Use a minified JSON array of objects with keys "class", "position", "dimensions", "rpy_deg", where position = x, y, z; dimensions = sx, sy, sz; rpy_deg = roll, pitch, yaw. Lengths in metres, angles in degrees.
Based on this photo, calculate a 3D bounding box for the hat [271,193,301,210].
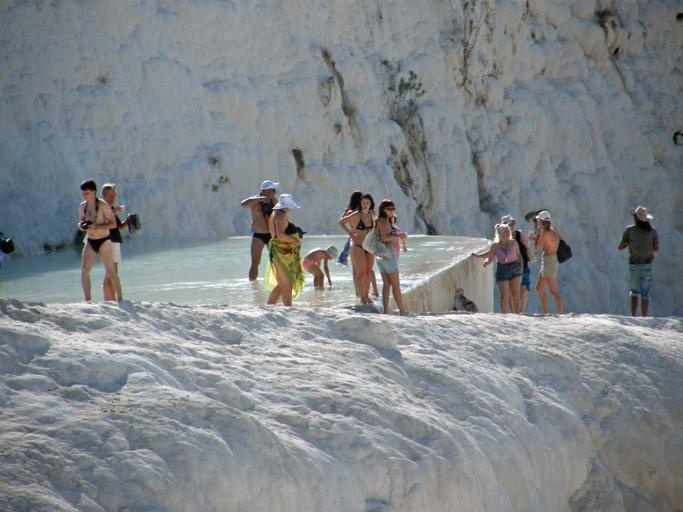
[{"class":"hat","position":[-1.086,-0.964,21.321],"dimensions":[0.422,0.257,0.425],"rpy_deg":[0,-1,-43]}]

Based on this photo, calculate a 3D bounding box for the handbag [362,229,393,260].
[{"class":"handbag","position":[0.649,-0.245,21.377],"dimensions":[0.385,0.477,0.239],"rpy_deg":[4,37,40]}]

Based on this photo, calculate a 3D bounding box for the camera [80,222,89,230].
[{"class":"camera","position":[-4.579,-0.555,20.850],"dimensions":[0.094,0.140,0.148],"rpy_deg":[-12,-21,-15]}]

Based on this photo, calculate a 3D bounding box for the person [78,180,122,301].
[{"class":"person","position":[-4.355,-0.293,21.036],"dimensions":[0.849,2.181,0.692],"rpy_deg":[-1,2,13]}]

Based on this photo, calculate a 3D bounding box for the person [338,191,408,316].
[{"class":"person","position":[0.566,-0.058,21.632],"dimensions":[1.077,2.162,0.623],"rpy_deg":[-1,2,14]}]

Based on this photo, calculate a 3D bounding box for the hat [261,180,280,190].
[{"class":"hat","position":[-1.380,-1.370,22.600],"dimensions":[0.236,0.164,0.356],"rpy_deg":[-1,2,31]}]

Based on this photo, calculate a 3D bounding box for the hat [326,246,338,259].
[{"class":"hat","position":[-0.193,-0.117,22.640],"dimensions":[0.078,0.242,0.215],"rpy_deg":[-25,-34,-11]}]

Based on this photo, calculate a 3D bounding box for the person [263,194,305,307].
[{"class":"person","position":[-1.051,-0.111,21.338],"dimensions":[0.661,2.027,0.682],"rpy_deg":[-2,2,-4]}]

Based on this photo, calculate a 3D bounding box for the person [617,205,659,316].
[{"class":"person","position":[5.899,0.115,23.282],"dimensions":[0.783,2.166,0.568],"rpy_deg":[-2,2,-19]}]

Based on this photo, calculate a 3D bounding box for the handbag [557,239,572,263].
[{"class":"handbag","position":[4.461,-0.098,23.483],"dimensions":[0.319,0.447,0.448],"rpy_deg":[-1,-13,0]}]
